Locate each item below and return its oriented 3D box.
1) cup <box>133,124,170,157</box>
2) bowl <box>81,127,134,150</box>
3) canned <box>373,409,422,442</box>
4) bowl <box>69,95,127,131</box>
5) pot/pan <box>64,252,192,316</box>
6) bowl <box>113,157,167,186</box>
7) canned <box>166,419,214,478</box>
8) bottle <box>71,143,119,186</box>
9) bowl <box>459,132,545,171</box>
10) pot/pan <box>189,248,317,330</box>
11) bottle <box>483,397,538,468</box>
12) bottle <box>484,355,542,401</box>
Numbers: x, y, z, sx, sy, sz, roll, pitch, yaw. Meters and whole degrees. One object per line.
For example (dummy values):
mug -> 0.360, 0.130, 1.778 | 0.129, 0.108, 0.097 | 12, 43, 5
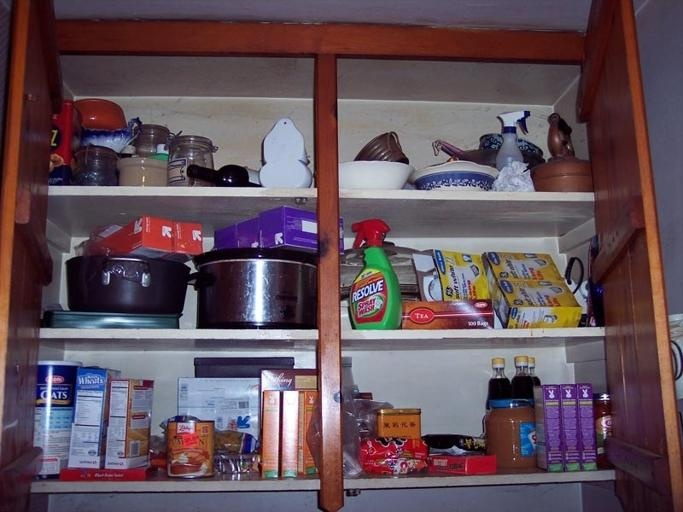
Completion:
cup -> -0.619, -0.382, 2.032 | 0.129, 0.115, 0.125 | 1, -3, 0
bowl -> -0.737, -0.361, 1.890 | 0.102, 0.056, 0.087 | -1, 6, -6
canned -> 0.164, 0.480, 1.787 | 0.134, 0.083, 0.079 | 0, -13, 0
bowl -> -0.803, -0.460, 2.011 | 0.146, 0.070, 0.175 | -14, 3, 11
pot/pan -> -0.603, 0.083, 1.681 | 0.228, 0.080, 0.222 | 0, -10, 11
bowl -> -0.585, -0.244, 1.772 | 0.107, 0.062, 0.103 | 0, 2, 0
canned -> -0.400, 0.508, 1.594 | 0.153, 0.157, 0.092 | -1, -3, -2
bottle -> -0.716, -0.258, 1.797 | 0.132, 0.118, 0.126 | 1, -7, -9
bowl -> 0.545, -0.348, 2.008 | 0.187, 0.073, 0.158 | 0, 0, 3
pot/pan -> -0.239, 0.094, 1.579 | 0.281, 0.137, 0.251 | 0, -10, -3
bottle -> 0.436, 0.510, 1.745 | 0.173, 0.191, 0.175 | 0, -12, 2
bottle -> 0.496, 0.378, 1.872 | 0.203, 0.195, 0.102 | 0, -11, 7
